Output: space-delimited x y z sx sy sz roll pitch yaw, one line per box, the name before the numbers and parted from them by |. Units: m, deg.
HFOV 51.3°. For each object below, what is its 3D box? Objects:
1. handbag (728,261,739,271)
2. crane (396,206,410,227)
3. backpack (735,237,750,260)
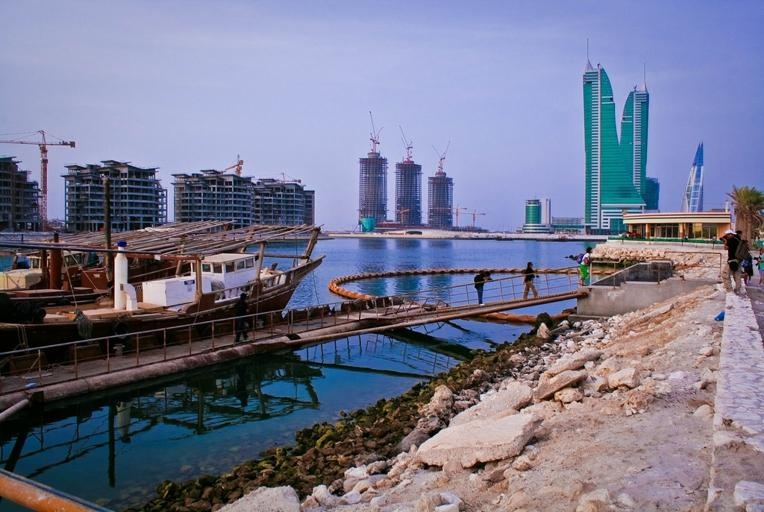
handbag | 11.167 0.303 25.400 0.221 0.375 0.413 -6 8 -12
crane | 9.204 -19.032 370.331 4.556 7.492 6.213 -8 9 -24
backpack | 11.533 -0.243 25.545 0.323 0.800 0.864 0 9 27
